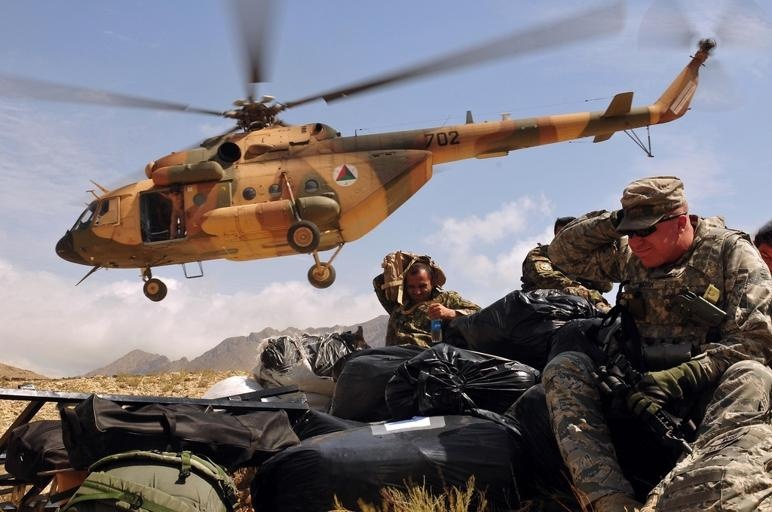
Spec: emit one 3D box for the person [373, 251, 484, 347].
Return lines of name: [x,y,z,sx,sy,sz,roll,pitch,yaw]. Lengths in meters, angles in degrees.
person: [0.356,0.433,7.320,0.677,1.021,1.175,4,-5,-16]

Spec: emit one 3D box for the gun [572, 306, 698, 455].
gun: [1.420,0.666,4.104,0.508,1.124,0.274,-16,-40,-8]

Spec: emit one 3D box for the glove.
glove: [1.571,0.705,3.803,0.430,0.245,0.188,-31,0,-3]
